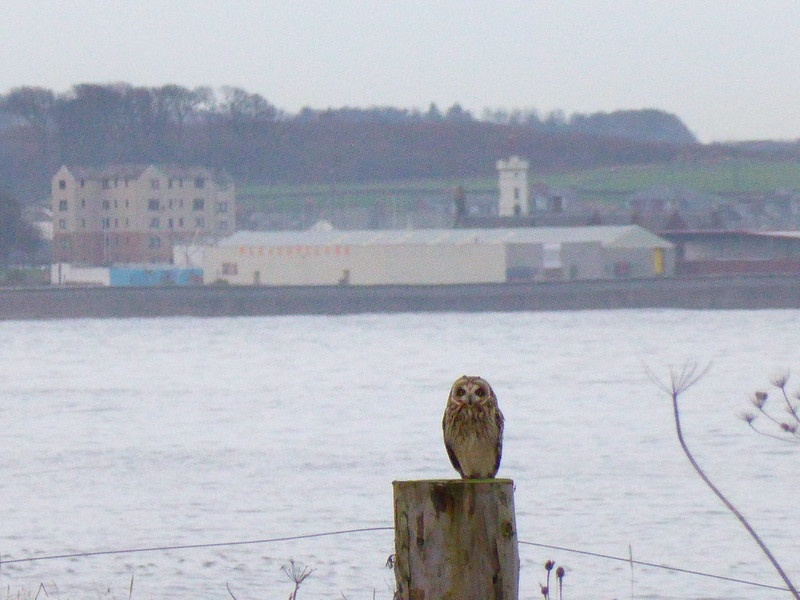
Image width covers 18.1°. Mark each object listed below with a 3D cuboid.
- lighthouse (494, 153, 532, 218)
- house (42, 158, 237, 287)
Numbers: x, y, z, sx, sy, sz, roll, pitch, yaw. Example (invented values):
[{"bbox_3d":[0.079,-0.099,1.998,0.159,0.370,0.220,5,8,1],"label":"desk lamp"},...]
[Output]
[{"bbox_3d":[5.711,-6.487,129.874,1.598,2.842,5.102,-1,0,2],"label":"lighthouse"},{"bbox_3d":[-12.487,-4.353,123.740,9.469,4.908,9.845,-1,0,-9],"label":"house"}]
